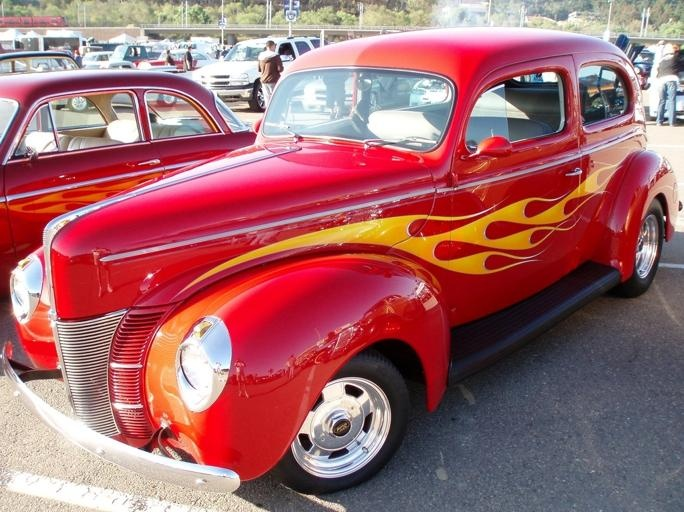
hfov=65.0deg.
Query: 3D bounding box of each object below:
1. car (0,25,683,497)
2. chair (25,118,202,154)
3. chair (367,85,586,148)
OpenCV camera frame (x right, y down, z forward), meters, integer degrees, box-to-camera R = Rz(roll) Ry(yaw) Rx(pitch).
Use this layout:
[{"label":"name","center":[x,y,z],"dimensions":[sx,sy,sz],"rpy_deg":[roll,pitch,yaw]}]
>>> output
[{"label":"car","center":[0.485,-0.318,4.154],"dimensions":[4.818,2.069,2.496],"rpy_deg":[-19,19,-34]},{"label":"chair","center":[-2.475,-1.298,5.878],"dimensions":[1.184,0.278,0.210],"rpy_deg":[-9,72,-10]},{"label":"chair","center":[0.875,-0.960,3.716],"dimensions":[0.745,0.262,0.546],"rpy_deg":[-1,12,-40]}]
